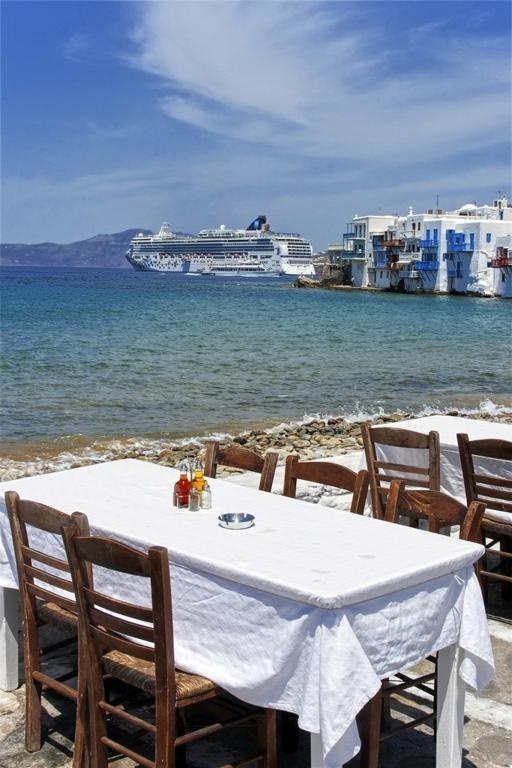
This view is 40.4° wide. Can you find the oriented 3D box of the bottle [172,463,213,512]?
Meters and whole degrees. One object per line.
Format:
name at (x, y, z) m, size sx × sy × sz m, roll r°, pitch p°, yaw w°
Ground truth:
bottle at (-0.253, 0.411, 2.732) m, size 0.144 × 0.177 × 0.143 m, roll -2°, pitch 7°, yaw 3°
